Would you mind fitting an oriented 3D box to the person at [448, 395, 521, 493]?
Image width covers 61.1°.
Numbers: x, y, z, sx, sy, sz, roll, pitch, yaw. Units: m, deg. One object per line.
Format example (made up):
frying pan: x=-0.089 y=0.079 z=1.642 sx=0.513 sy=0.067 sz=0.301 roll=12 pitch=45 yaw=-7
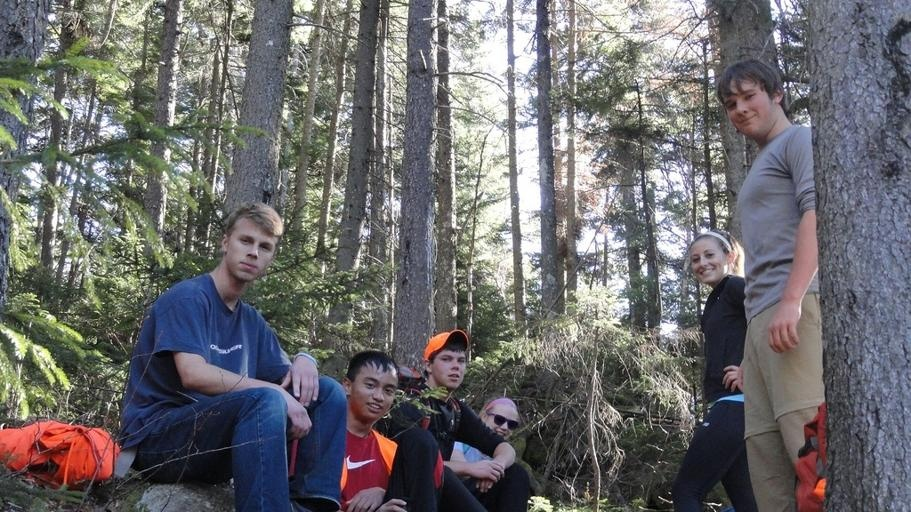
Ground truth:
person: x=0.370 y=2.179 z=8.900 sx=0.911 sy=1.042 sz=1.089 roll=3 pitch=-8 yaw=-1
